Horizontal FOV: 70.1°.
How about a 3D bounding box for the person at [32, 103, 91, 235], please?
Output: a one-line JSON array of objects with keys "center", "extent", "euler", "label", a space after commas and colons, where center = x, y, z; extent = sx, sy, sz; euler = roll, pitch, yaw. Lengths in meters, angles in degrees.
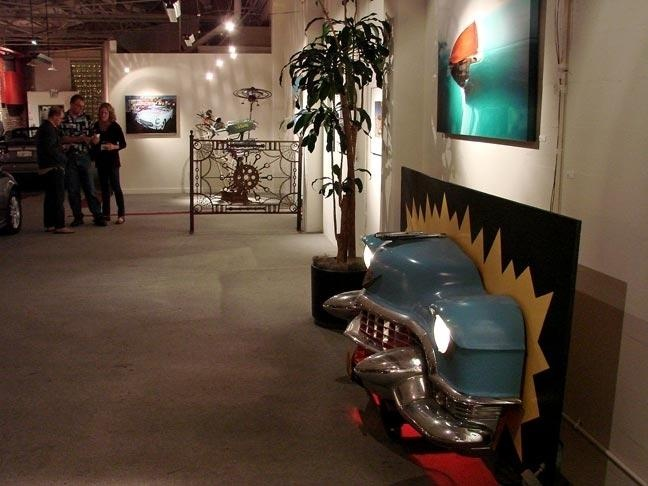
[{"center": [-3.982, -1.082, 6.850], "extent": [0.516, 1.844, 0.547], "euler": [-2, 10, -7], "label": "person"}]
